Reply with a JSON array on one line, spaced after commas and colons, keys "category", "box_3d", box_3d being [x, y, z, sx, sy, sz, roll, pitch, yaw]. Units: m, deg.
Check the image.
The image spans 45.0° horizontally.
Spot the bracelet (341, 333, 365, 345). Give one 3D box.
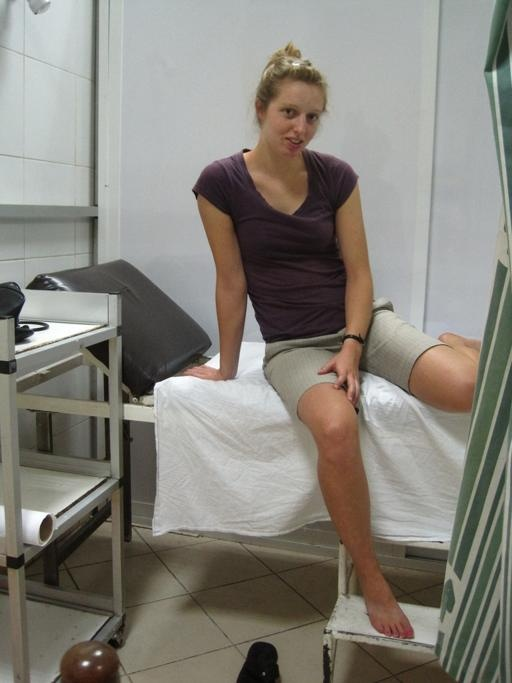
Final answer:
[{"category": "bracelet", "box_3d": [0.246, -0.010, 1.519, 0.033, 0.012, 0.030, 33, 21, 36]}]

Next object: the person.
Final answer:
[{"category": "person", "box_3d": [0.203, -0.096, 1.517, 0.465, 1.258, 0.731, -5, 11, -38]}]
